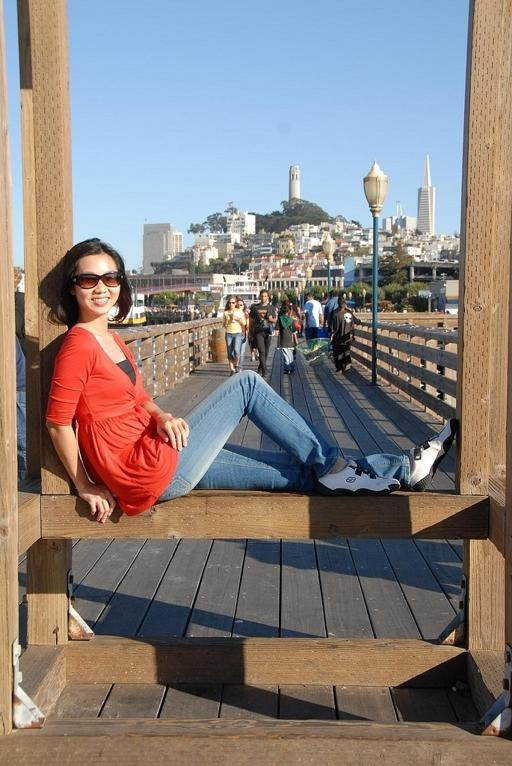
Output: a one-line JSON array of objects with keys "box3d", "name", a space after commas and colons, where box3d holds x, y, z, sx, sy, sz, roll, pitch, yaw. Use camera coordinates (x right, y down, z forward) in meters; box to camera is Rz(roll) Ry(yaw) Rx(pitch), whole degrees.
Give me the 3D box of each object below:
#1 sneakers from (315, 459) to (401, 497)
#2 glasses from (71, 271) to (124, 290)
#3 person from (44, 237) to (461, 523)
[{"box3d": [0.265, 0.252, 1.605, 0.246, 0.127, 0.087, -1, 0, -1], "name": "sneakers"}, {"box3d": [-0.419, -0.275, 1.568, 0.059, 0.059, 0.156, 0, 2, 32], "name": "glasses"}, {"box3d": [-0.009, -0.027, 1.677, 1.076, 0.794, 0.464, -3, 1, -2], "name": "person"}]
